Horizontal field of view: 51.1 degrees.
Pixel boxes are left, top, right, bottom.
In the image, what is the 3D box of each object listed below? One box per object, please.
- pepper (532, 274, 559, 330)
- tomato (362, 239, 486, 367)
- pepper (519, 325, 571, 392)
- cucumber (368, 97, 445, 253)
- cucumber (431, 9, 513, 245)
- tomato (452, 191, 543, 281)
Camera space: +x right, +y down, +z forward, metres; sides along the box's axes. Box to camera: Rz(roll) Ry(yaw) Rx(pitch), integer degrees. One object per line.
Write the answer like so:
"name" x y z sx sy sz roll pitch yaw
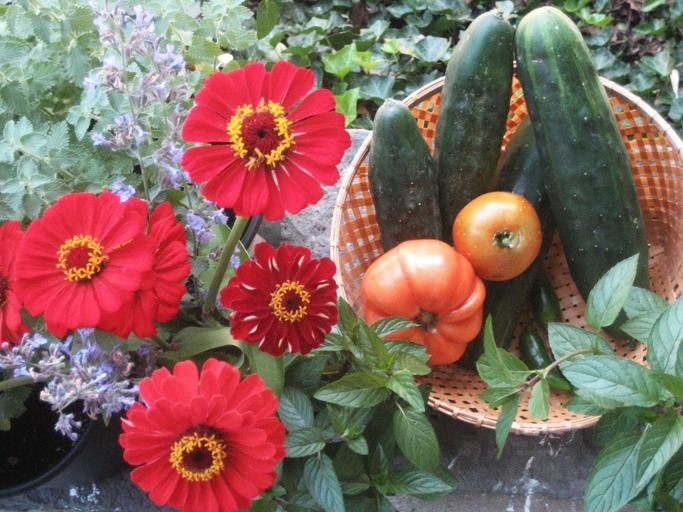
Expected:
"pepper" 0.416 0.095 1.461 0.039 0.040 0.099 -29 56 35
"tomato" 0.157 0.098 1.381 0.228 0.243 0.162 -7 49 0
"pepper" 0.398 0.202 1.413 0.059 0.051 0.188 -25 57 9
"cucumber" 0.118 -0.151 1.418 0.120 0.284 0.145 -5 30 -7
"cucumber" 0.262 -0.250 1.393 0.121 0.432 0.117 1 13 9
"tomato" 0.296 -0.044 1.413 0.150 0.159 0.153 25 24 -6
